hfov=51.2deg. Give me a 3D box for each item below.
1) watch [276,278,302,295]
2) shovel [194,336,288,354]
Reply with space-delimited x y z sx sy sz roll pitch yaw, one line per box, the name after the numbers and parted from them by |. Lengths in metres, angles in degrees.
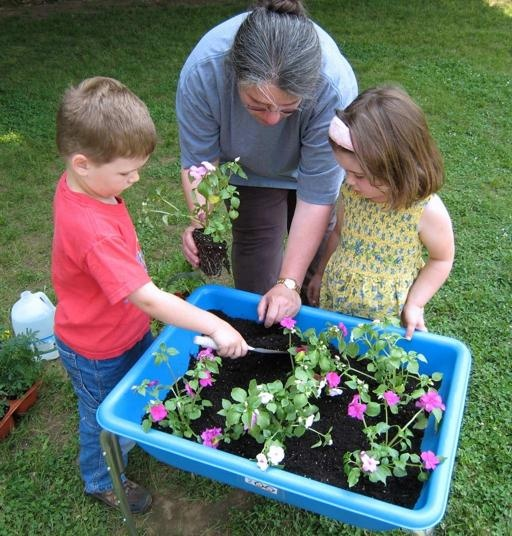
0.142 0.069 2.129 0.084 0.081 0.046 34 86 22 | watch
-0.052 0.275 1.907 0.305 0.043 0.057 11 3 -17 | shovel
